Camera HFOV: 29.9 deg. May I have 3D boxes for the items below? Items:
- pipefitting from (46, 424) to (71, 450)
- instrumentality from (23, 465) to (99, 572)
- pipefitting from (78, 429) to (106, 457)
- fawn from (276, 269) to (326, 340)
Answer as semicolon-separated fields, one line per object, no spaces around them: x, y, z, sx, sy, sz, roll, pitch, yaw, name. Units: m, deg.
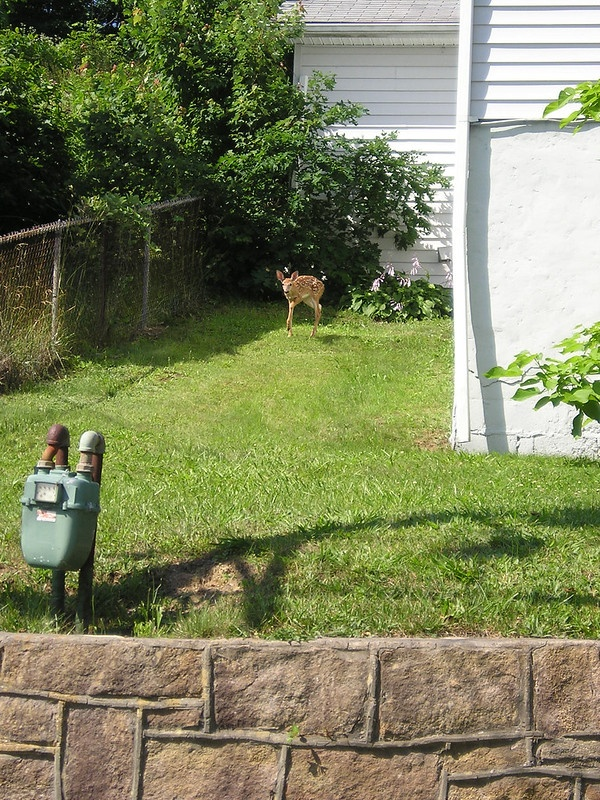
-0.983;0.151;4.593;0.080;0.111;0.114;3;21;-4;pipefitting
-0.951;0.476;4.468;0.266;0.424;0.188;3;5;14;instrumentality
-0.858;0.178;4.639;0.087;0.107;0.255;1;4;-7;pipefitting
0.025;-1.195;13.721;0.303;0.861;1.065;4;14;25;fawn
